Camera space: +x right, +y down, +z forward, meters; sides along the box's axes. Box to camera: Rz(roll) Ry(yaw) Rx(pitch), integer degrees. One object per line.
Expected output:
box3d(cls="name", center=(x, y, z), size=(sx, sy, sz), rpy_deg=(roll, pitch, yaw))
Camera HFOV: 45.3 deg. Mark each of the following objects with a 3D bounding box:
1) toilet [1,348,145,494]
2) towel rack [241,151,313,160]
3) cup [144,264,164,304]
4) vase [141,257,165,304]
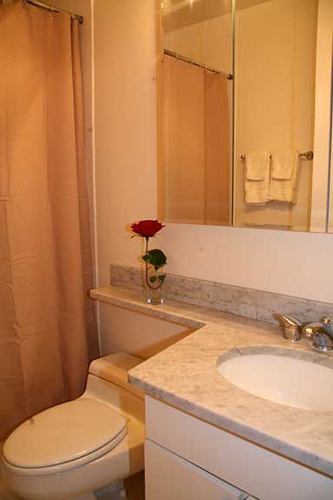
box3d(cls="toilet", center=(-0.249, 0.589, 1.342), size=(0.394, 0.221, 0.569), rpy_deg=(2, 11, 18))
box3d(cls="towel rack", center=(0.322, -0.243, 1.037), size=(0.115, 0.021, 0.006), rpy_deg=(7, 12, 37))
box3d(cls="cup", center=(-0.045, 0.110, 1.448), size=(0.071, 0.135, 0.148), rpy_deg=(-1, 10, -2))
box3d(cls="vase", center=(-0.050, 0.109, 1.440), size=(0.118, 0.162, 0.123), rpy_deg=(-2, -3, 22))
